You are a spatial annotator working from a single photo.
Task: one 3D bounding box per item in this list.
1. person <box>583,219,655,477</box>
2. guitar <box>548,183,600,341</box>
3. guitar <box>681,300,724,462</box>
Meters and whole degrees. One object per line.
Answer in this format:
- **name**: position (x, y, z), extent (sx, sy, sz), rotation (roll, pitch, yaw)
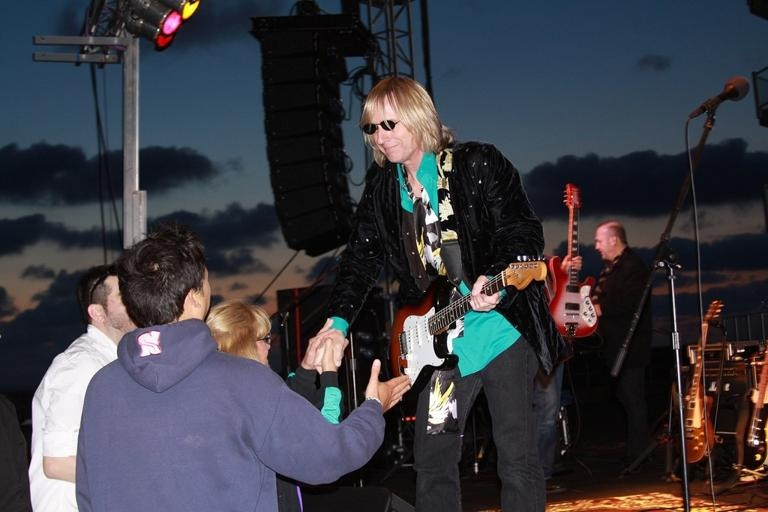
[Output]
- **person**: position (3.062, 0.835, 12.616), extent (0.807, 2.487, 0.883), rotation (2, 16, 21)
- **guitar**: position (2.418, 0.071, 12.068), extent (0.793, 1.959, 0.265), rotation (3, -3, -20)
- **guitar**: position (3.726, 1.491, 10.898), extent (0.193, 1.817, 0.673), rotation (11, -13, -4)
